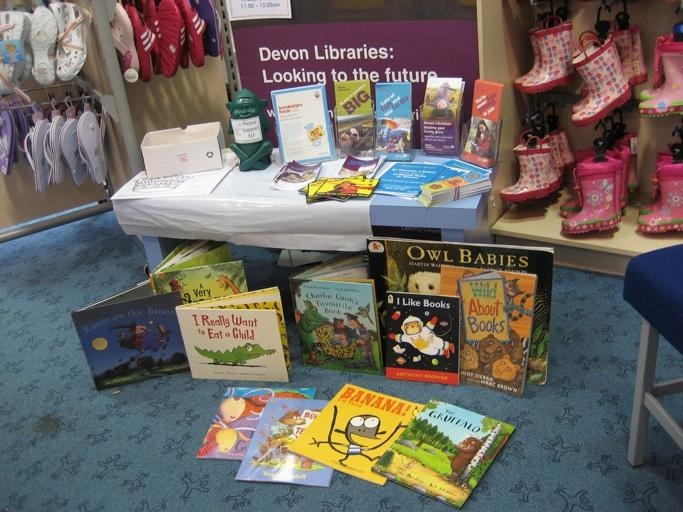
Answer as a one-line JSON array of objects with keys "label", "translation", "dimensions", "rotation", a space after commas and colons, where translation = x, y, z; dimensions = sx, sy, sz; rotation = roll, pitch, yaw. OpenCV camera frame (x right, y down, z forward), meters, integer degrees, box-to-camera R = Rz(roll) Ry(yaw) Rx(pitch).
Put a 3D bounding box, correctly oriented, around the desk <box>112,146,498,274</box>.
[{"label": "desk", "translation": [-0.274, -0.173, 2.115], "dimensions": [1.151, 0.523, 0.609], "rotation": [4, 46, 9]}]
